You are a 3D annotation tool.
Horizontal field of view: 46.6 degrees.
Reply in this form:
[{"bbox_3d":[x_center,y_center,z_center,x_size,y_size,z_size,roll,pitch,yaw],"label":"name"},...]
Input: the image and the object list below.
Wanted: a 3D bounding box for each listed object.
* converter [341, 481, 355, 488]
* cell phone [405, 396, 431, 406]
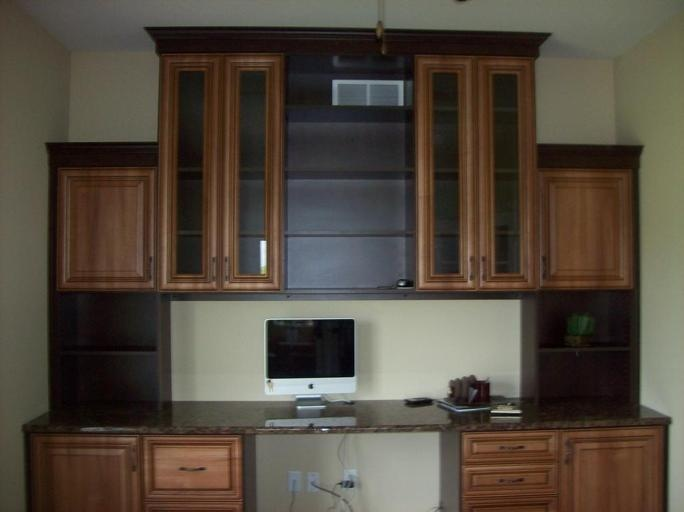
[{"bbox_3d":[0.035,1.570,5.463,0.089,0.061,0.050,1,1,5],"label":"converter"},{"bbox_3d":[0.521,0.991,5.376,0.197,0.042,0.126,-1,-5,1],"label":"cell phone"}]
